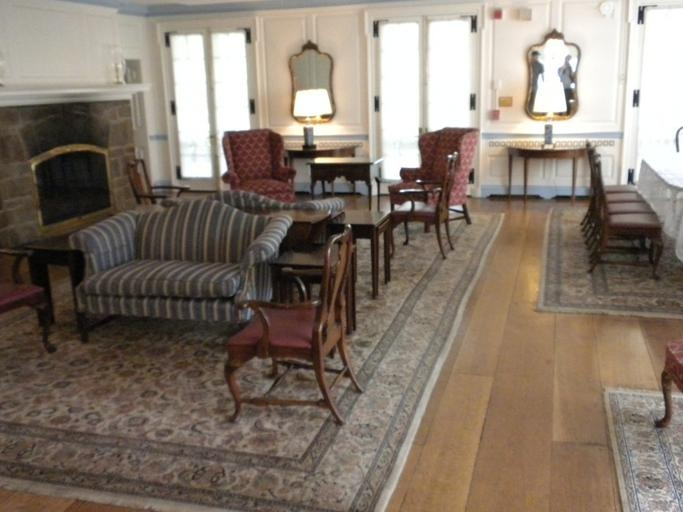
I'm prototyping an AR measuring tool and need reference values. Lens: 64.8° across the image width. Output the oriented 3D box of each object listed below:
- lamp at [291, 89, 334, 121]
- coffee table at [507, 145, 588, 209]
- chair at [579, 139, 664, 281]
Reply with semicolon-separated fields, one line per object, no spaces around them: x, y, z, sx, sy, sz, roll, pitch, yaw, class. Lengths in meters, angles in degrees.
-0.422;-2.351;8.339;0.559;0.407;0.541;-14;23;-29;lamp
2.986;-1.101;8.017;1.337;0.993;0.774;0;18;4;coffee table
2.952;-0.490;5.664;0.589;0.928;1.772;-3;20;16;chair
